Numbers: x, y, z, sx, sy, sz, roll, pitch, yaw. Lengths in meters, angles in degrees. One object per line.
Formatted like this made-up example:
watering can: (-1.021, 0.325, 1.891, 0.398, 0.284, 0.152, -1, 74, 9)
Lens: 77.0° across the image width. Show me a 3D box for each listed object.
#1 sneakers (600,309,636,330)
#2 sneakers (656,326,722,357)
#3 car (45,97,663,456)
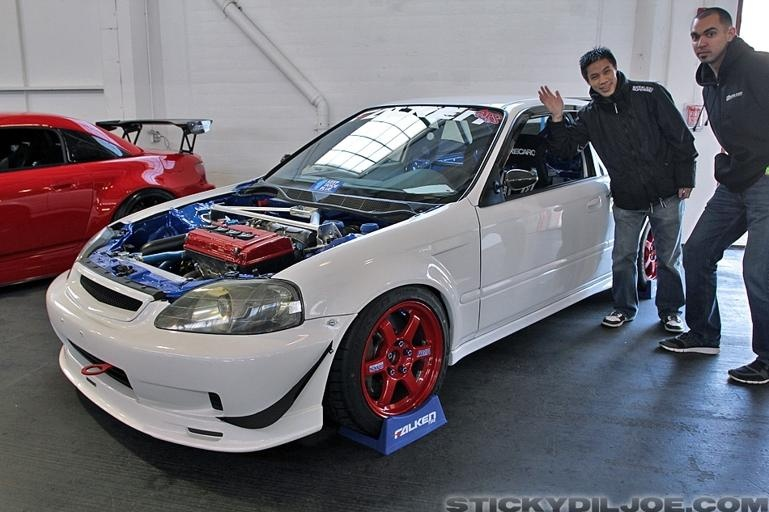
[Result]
sneakers: (1.847, 0.522, 3.830, 0.321, 0.104, 0.112, -1, 5, -28)
sneakers: (2.181, 0.644, 3.556, 0.488, 0.158, 0.157, 4, 3, 6)
car: (0.262, -0.188, 3.220, 3.981, 1.021, 1.859, -16, 22, -33)
